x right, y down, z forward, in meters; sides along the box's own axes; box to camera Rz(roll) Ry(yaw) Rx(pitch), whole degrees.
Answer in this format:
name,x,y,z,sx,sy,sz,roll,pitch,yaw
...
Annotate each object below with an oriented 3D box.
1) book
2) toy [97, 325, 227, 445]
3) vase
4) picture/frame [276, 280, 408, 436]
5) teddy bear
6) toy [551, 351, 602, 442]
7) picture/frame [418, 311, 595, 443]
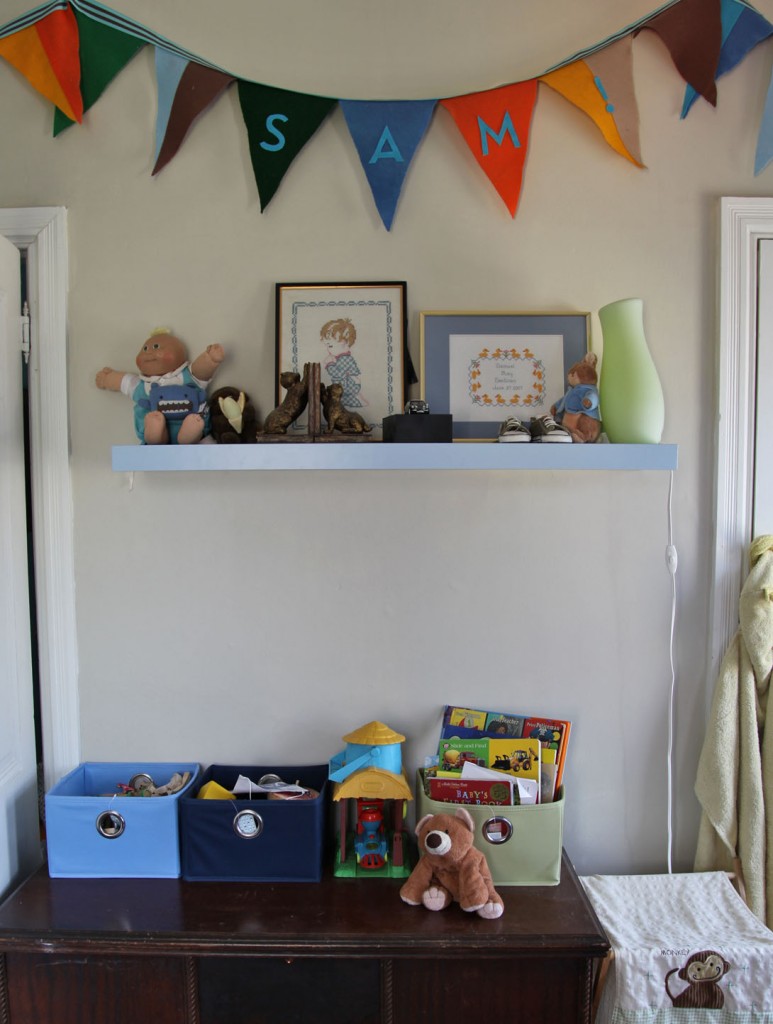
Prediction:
name,x,y,z,sx,sy,sz,roll,pitch,yaw
book,0.208,0.437,1.659,0.237,0.157,0.213,-2,4,8
toy,-0.399,-0.221,1.663,0.234,0.210,0.202,-3,4,-10
vase,0.407,-0.230,1.571,0.098,0.237,0.105,-3,4,-14
picture/frame,-0.072,-0.263,1.677,0.288,0.347,0.013,-1,-7,0
teddy bear,0.110,0.559,1.521,0.154,0.156,0.119,-9,-7,32
toy,0.324,-0.184,1.599,0.077,0.132,0.037,-1,4,12
picture/frame,0.204,-0.228,1.660,0.246,0.183,0.010,0,-6,-1
